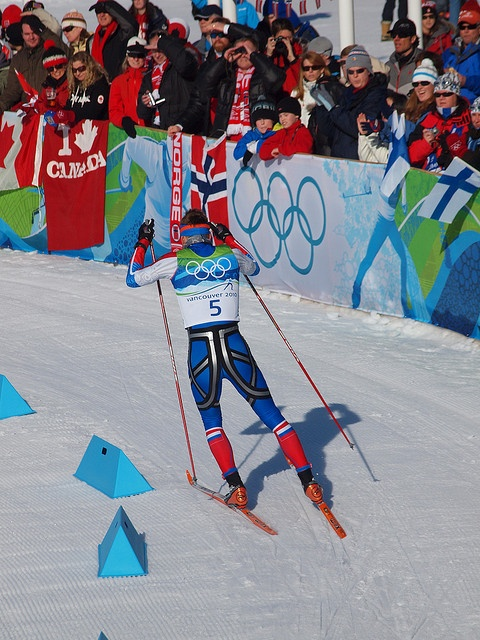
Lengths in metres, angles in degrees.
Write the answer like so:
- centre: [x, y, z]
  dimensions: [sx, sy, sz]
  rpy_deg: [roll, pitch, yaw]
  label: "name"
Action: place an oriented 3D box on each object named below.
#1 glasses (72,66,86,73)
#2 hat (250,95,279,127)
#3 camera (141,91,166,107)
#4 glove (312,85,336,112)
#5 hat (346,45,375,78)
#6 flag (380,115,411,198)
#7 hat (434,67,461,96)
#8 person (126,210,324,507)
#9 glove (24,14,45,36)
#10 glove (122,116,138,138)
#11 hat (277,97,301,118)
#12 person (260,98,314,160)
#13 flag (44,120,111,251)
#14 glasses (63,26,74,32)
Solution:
- centre: [-2.233, -3.491, 9.220]
  dimensions: [0.266, 0.084, 0.102]
  rpy_deg: [7, 11, 30]
  label: "glasses"
- centre: [0.284, -2.472, 7.763]
  dimensions: [0.260, 0.275, 0.359]
  rpy_deg: [-1, 11, 5]
  label: "hat"
- centre: [-1.151, -2.925, 8.802]
  dimensions: [0.164, 0.219, 0.078]
  rpy_deg: [-3, 43, 18]
  label: "camera"
- centre: [0.924, -2.503, 7.460]
  dimensions: [0.104, 0.343, 0.190]
  rpy_deg: [-2, -29, -49]
  label: "glove"
- centre: [1.294, -2.833, 7.191]
  dimensions: [0.292, 0.319, 0.296]
  rpy_deg: [1, 10, -4]
  label: "hat"
- centre: [1.543, -1.639, 6.603]
  dimensions: [0.166, 0.830, 0.364]
  rpy_deg: [0, 10, -13]
  label: "flag"
- centre: [1.924, -2.196, 6.164]
  dimensions: [0.170, 0.190, 0.234]
  rpy_deg: [-8, 18, 6]
  label: "hat"
- centre: [-0.131, 0.203, 3.716]
  dimensions: [1.295, 1.605, 0.418]
  rpy_deg: [9, 12, 36]
  label: "person"
- centre: [-3.214, -4.631, 10.402]
  dimensions: [0.340, 0.344, 0.345]
  rpy_deg: [-1, 10, -19]
  label: "glove"
- centre: [-1.503, -2.633, 9.047]
  dimensions: [0.079, 0.264, 0.200]
  rpy_deg: [-30, 30, -17]
  label: "glove"
- centre: [0.533, -2.358, 7.368]
  dimensions: [0.212, 0.182, 0.210]
  rpy_deg: [23, -12, -26]
  label: "hat"
- centre: [0.561, -2.247, 7.753]
  dimensions: [0.592, 0.825, 0.631]
  rpy_deg: [-22, 22, -40]
  label: "person"
- centre: [-2.447, -1.975, 9.910]
  dimensions: [1.303, 1.903, 0.277]
  rpy_deg: [10, 12, 39]
  label: "flag"
- centre: [-2.691, -4.579, 10.422]
  dimensions: [0.231, 0.104, 0.062]
  rpy_deg: [7, 11, 28]
  label: "glasses"
